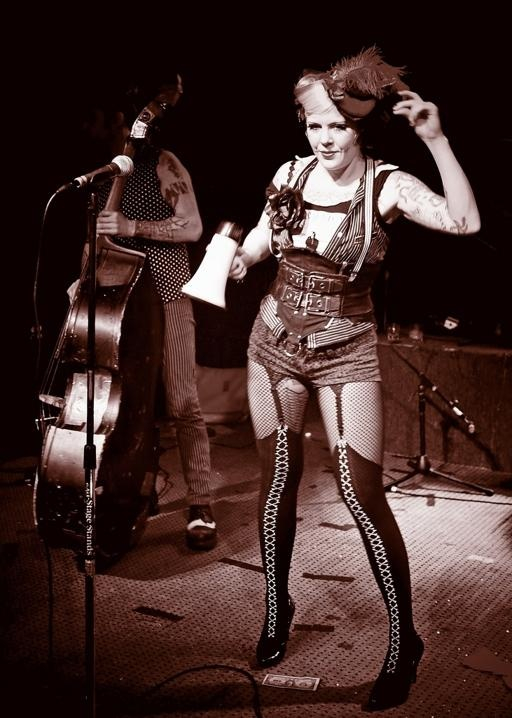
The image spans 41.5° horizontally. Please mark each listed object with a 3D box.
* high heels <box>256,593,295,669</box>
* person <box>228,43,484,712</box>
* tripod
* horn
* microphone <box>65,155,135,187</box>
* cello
[{"bbox_3d":[0.050,0.746,1.879,0.080,0.198,0.067,16,14,32],"label":"high heels"},{"bbox_3d":[0.110,0.106,1.826,0.650,1.612,0.650,9,18,9],"label":"person"},{"bbox_3d":[0.930,0.480,3.534,0.477,0.566,0.475,-9,19,-32],"label":"tripod"},{"bbox_3d":[-0.089,-0.212,1.562,0.155,0.193,0.142,4,18,3],"label":"horn"},{"bbox_3d":[-0.339,-0.425,1.510,0.066,0.055,0.222,5,21,32],"label":"microphone"},{"bbox_3d":[-0.510,-0.112,2.323,0.436,1.485,0.643,5,-1,5],"label":"cello"}]
